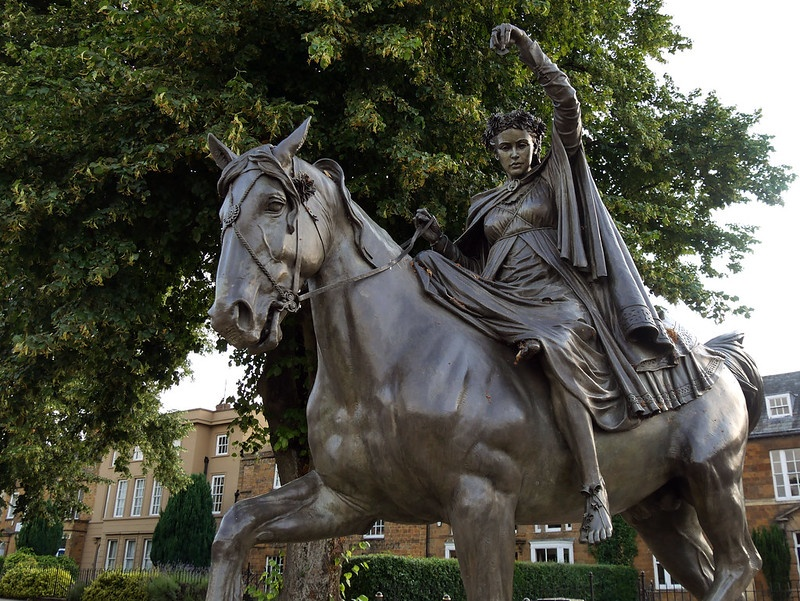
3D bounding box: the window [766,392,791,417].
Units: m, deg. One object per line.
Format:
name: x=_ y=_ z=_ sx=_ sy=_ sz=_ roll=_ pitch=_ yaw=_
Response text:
window: x=16.586 y=4.608 z=31.045 sx=0.115 sy=0.848 sz=0.816 roll=16 pitch=-23 yaw=-15
